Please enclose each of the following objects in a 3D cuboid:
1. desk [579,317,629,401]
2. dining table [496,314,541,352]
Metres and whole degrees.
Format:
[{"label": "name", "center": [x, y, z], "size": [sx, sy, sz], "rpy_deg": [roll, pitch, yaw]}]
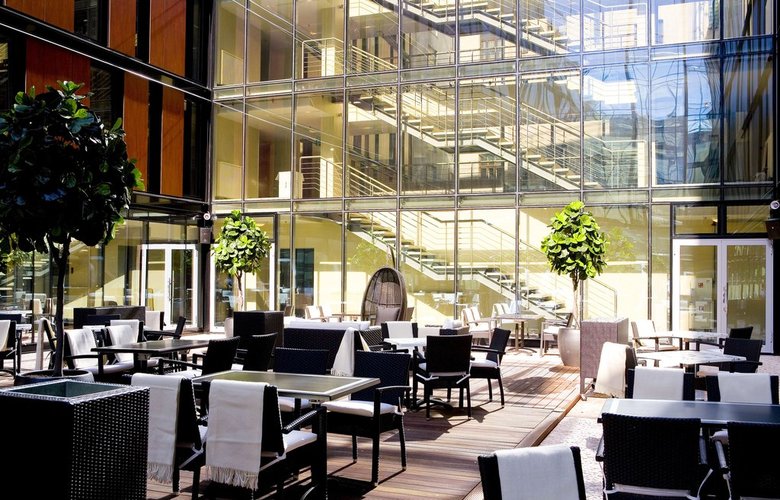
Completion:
[{"label": "desk", "center": [3.725, 1.916, 14.626], "size": [0.454, 1.200, 1.431], "rpy_deg": [-1, -2, 18]}, {"label": "dining table", "center": [3.187, 1.984, 21.199], "size": [1.079, 0.927, 1.097], "rpy_deg": [0, -3, 11]}]
